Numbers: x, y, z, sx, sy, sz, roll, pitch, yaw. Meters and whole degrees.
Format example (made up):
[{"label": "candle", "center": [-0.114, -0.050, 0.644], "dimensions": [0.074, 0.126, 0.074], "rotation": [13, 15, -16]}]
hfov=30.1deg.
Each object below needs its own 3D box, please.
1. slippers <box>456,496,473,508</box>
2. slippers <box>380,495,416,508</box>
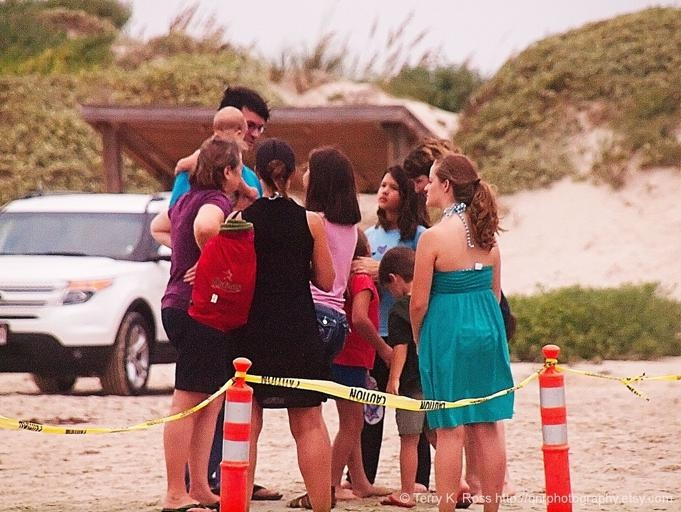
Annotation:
[{"label": "slippers", "center": [1.552, 3.047, 15.718], "dimensions": [0.156, 0.116, 0.147], "rotation": [0, 0, -18]}, {"label": "slippers", "center": [0.716, 3.032, 15.669], "dimensions": [0.301, 0.175, 0.098], "rotation": [8, -40, 2]}]
